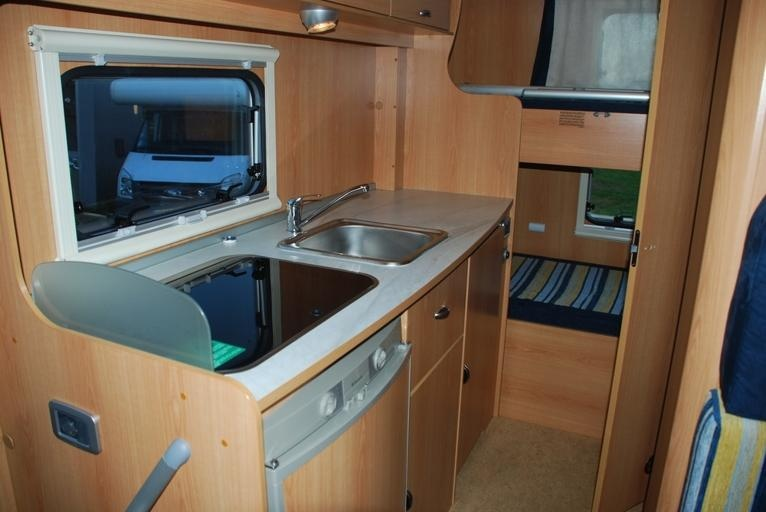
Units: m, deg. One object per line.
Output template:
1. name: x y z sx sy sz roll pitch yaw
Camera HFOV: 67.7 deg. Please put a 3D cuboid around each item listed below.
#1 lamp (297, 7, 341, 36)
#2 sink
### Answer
1. lamp: -0.217 -0.783 1.907 0.088 0.045 0.083 -22 36 -35
2. sink: -0.109 -0.040 2.284 0.335 0.140 0.281 12 26 27
